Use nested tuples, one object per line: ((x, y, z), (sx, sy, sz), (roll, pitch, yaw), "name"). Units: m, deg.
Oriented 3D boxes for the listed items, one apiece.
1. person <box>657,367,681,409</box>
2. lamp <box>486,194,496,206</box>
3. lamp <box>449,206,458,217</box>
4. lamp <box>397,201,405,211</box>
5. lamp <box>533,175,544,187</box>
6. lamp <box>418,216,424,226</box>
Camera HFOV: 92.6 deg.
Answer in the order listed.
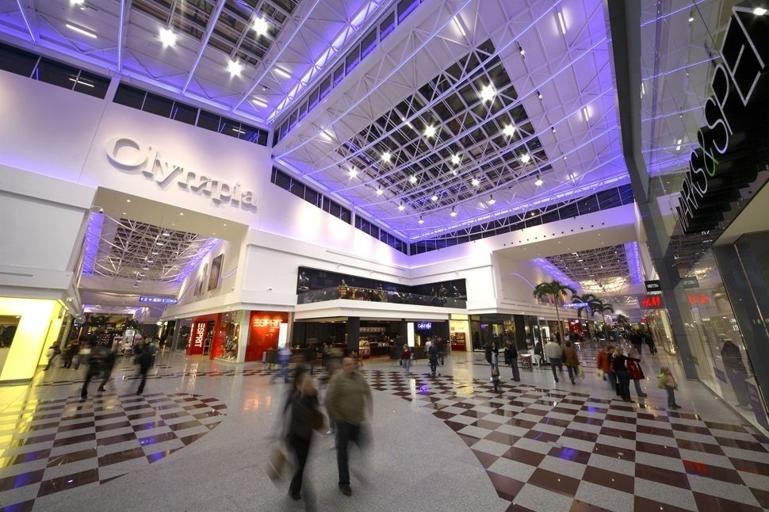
((7.901, 3.682, 10.269), (0.419, 1.113, 0.521), (-6, 8, -39), "person")
((6.914, -3.674, 23.972), (0.656, 0.682, 0.614), (8, -14, -25), "lamp")
((4.967, -3.105, 26.573), (0.505, 0.461, 0.512), (6, 22, 6), "lamp")
((1.203, -3.492, 26.121), (0.409, 0.766, 0.735), (4, 1, 26), "lamp")
((8.973, -4.288, 21.580), (0.563, 0.572, 0.748), (-4, 24, 22), "lamp")
((2.633, -2.546, 26.500), (0.547, 0.556, 0.542), (10, -25, 1), "lamp")
